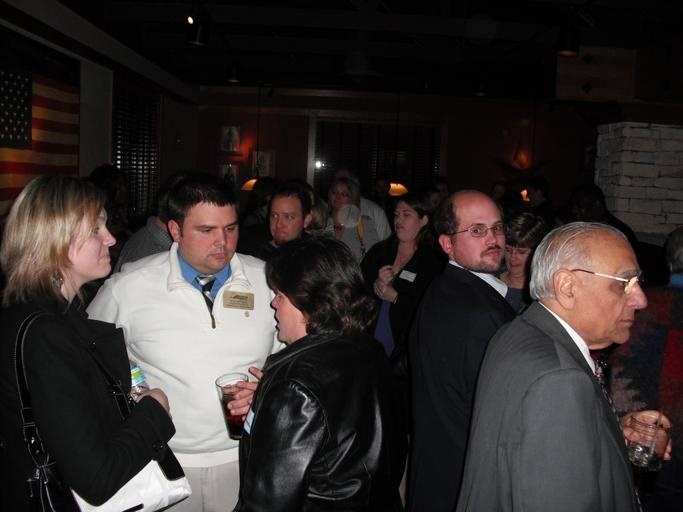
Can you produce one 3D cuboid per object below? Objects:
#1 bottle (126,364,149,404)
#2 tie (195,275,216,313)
[{"bbox_3d":[-0.775,0.484,2.045,0.075,0.120,0.084,-29,-37,7],"label":"bottle"},{"bbox_3d":[-0.590,0.165,2.349,0.087,0.151,0.047,-3,-4,-17],"label":"tie"}]
